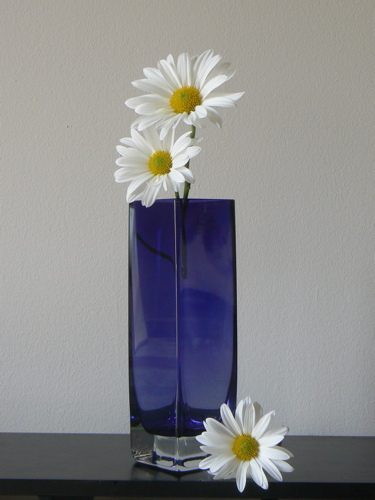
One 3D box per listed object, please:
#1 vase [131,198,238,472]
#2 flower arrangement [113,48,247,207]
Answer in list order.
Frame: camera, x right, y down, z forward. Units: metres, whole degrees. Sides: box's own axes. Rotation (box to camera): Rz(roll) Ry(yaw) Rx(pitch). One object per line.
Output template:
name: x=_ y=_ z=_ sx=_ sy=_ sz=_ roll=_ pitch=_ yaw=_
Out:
vase: x=-0.005 y=0.124 z=0.783 sx=0.151 sy=0.359 sz=0.174 roll=0 pitch=-20 yaw=-4
flower arrangement: x=-0.017 y=-0.125 z=0.743 sx=0.148 sy=0.262 sz=0.121 roll=11 pitch=20 yaw=8
